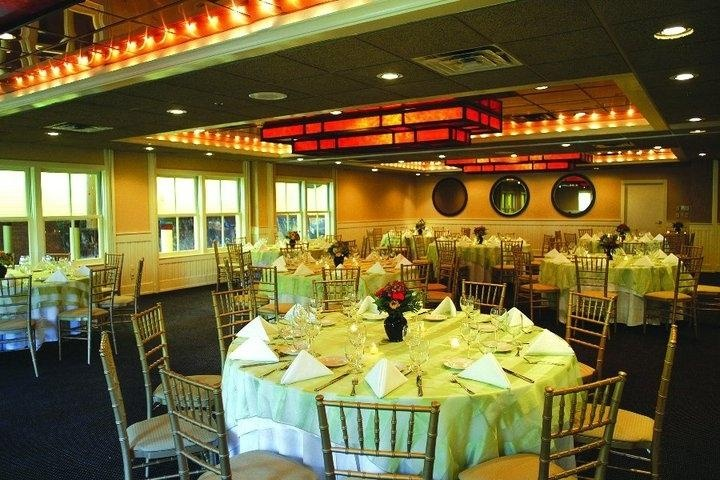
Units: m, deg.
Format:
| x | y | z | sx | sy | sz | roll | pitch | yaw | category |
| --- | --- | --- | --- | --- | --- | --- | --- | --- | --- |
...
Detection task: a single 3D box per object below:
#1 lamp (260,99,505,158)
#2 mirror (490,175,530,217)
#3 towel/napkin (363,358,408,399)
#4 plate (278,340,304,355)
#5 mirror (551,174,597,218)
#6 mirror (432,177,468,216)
| x | y | z | sx | sy | sz | roll | pitch | yaw | category |
| --- | --- | --- | --- | --- | --- | --- | --- | --- | --- |
| 0.361 | -2.016 | 8.867 | 3.892 | 0.712 | 1.154 | 0 | 3 | 33 | lamp |
| 5.418 | -1.596 | 17.398 | 1.609 | 1.629 | 0.199 | 6 | 6 | 37 | mirror |
| 0.171 | 1.013 | 3.598 | 0.323 | 0.164 | 0.258 | -2 | -7 | 22 | towel/napkin |
| -0.582 | 0.927 | 4.117 | 0.180 | 0.025 | 0.166 | -3 | 6 | -21 | plate |
| 7.248 | -1.500 | 16.356 | 1.446 | 1.548 | 0.132 | 13 | 7 | 41 | mirror |
| 3.493 | -1.678 | 18.624 | 0.182 | 1.566 | 1.669 | -7 | 2 | -40 | mirror |
